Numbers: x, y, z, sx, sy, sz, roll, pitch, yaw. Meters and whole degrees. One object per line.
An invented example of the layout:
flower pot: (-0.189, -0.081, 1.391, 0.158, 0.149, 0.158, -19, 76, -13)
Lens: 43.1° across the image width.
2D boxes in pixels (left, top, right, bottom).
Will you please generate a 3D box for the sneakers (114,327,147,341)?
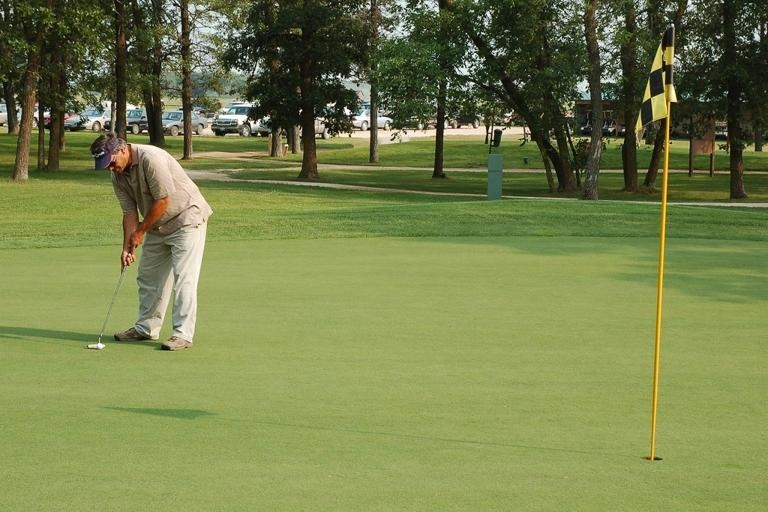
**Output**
sneakers: (-2.718, 0.849, 10.562, 0.360, 0.139, 0.141, 4, 1, -11)

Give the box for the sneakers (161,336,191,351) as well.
sneakers: (-2.173, 0.923, 10.235, 0.315, 0.121, 0.129, 3, 2, -14)

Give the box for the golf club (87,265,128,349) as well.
golf club: (-2.947, 0.519, 10.720, 0.161, 1.154, 0.316, 21, -2, 32)
